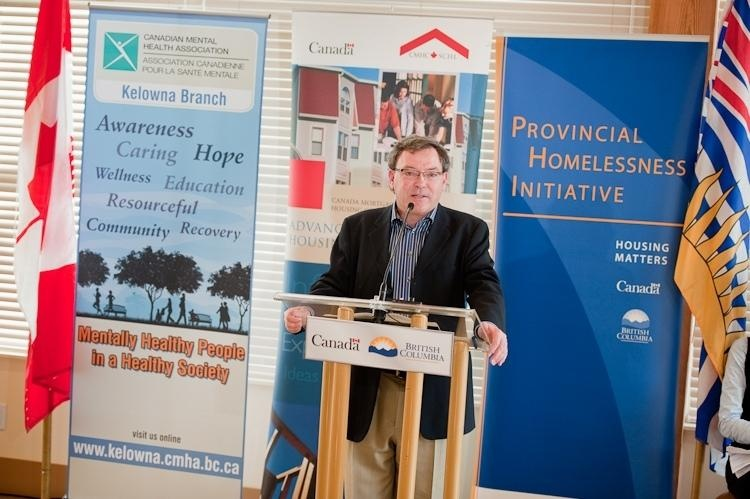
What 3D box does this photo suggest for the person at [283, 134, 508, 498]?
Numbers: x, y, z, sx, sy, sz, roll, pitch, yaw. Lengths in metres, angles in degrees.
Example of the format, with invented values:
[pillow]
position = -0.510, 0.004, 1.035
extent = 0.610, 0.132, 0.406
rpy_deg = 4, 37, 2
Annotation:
[person]
position = 0.188, 0.371, 5.600
extent = 1.160, 2.172, 0.902
rpy_deg = 2, -3, 3

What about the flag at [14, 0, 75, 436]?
[flag]
position = -2.269, -0.236, 6.624
extent = 0.438, 2.988, 0.326
rpy_deg = 4, -3, -27

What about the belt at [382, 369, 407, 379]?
[belt]
position = 0.120, 0.695, 5.286
extent = 0.079, 0.020, 0.076
rpy_deg = 12, 6, -40
